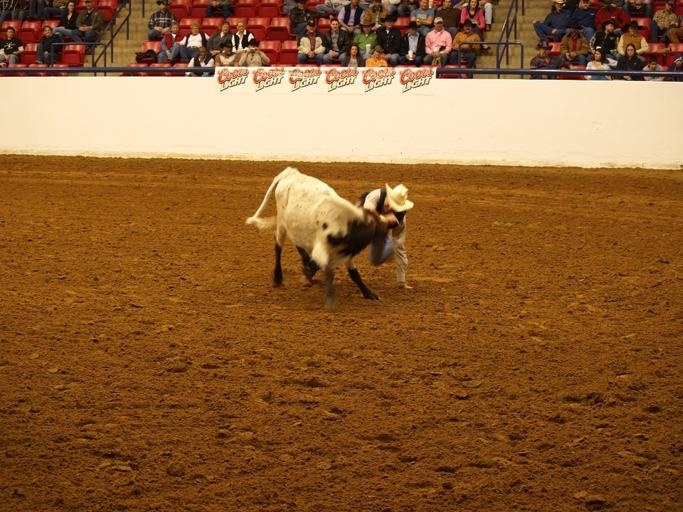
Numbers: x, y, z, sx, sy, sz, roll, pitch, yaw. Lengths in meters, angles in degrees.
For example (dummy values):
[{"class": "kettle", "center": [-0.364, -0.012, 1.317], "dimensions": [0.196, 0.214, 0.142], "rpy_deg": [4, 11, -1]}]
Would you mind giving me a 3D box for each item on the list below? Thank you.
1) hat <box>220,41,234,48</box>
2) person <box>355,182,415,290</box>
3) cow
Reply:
[{"class": "hat", "center": [-3.208, -5.969, 19.823], "dimensions": [0.373, 0.168, 0.197], "rpy_deg": [-1, 17, -6]}, {"class": "person", "center": [0.486, -0.183, 8.780], "dimensions": [0.883, 1.176, 1.498], "rpy_deg": [1, 3, -5]}, {"class": "cow", "center": [-0.169, -0.221, 8.727], "dimensions": [0.805, 1.500, 1.457], "rpy_deg": [-10, 20, -29]}]
